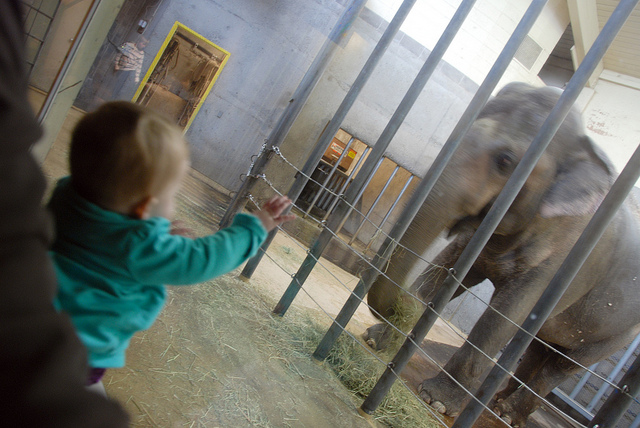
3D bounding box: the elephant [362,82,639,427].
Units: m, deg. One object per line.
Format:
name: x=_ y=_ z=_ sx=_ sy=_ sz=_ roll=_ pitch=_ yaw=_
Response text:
elephant: x=2.496 y=0.798 z=6.427 sx=4.972 sy=4.034 sz=2.400 roll=42 pitch=-6 yaw=-34
